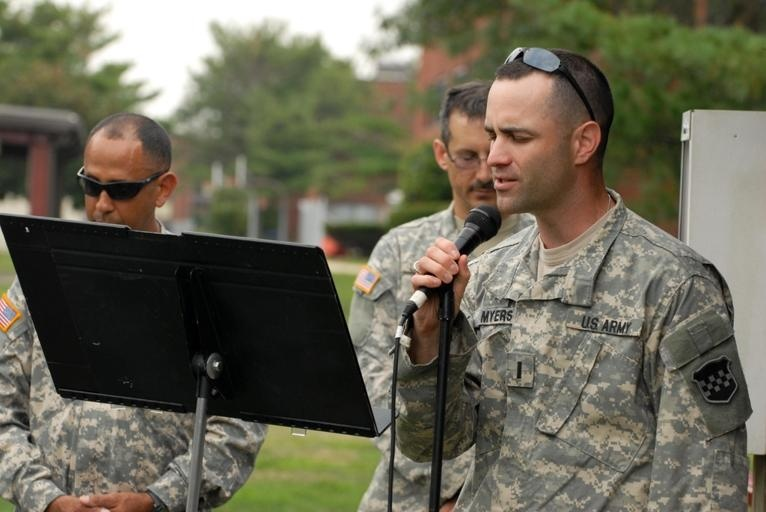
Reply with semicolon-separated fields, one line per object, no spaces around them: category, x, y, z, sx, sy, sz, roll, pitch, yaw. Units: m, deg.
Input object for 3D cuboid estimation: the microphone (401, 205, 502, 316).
microphone;0.501;0.074;10.398;0.920;0.223;0.235;-45;28;-20
